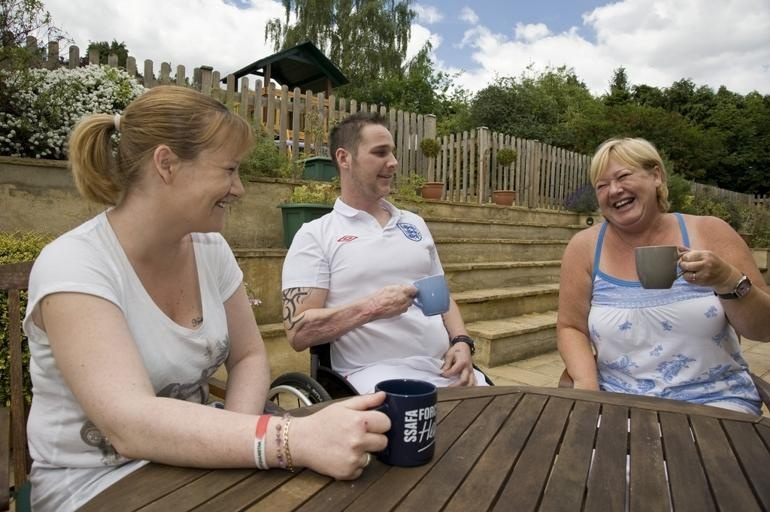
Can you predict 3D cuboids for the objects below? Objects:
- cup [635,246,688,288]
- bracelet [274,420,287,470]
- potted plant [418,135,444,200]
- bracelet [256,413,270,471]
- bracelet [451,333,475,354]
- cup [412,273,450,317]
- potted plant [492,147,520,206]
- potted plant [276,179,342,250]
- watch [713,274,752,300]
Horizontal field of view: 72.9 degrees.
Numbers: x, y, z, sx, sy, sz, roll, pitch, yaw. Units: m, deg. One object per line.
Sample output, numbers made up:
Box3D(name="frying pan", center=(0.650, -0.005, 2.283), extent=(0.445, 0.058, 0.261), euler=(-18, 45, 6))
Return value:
Box3D(name="cup", center=(1.114, 0.044, 2.121), extent=(0.124, 0.147, 0.205), euler=(-5, -8, 33))
Box3D(name="bracelet", center=(-0.310, 0.565, 1.576), extent=(0.049, 0.146, 0.056), euler=(-5, 10, -11))
Box3D(name="potted plant", center=(0.685, -1.358, 8.076), extent=(0.406, 0.953, 0.393), euler=(-9, 8, -43))
Box3D(name="bracelet", center=(-0.377, 0.557, 1.563), extent=(0.029, 0.125, 0.119), euler=(6, 43, -7))
Box3D(name="bracelet", center=(0.404, 0.451, 2.730), extent=(0.096, 0.042, 0.101), euler=(21, -14, 5))
Box3D(name="cup", center=(0.206, 0.178, 2.355), extent=(0.149, 0.202, 0.138), euler=(-3, 10, 0))
Box3D(name="potted plant", center=(2.026, -1.364, 8.766), extent=(0.351, 0.953, 1.428), euler=(0, 10, 14))
Box3D(name="potted plant", center=(-0.663, -0.325, 4.913), extent=(0.439, 0.671, 0.556), euler=(9, -8, 44))
Box3D(name="watch", center=(1.486, 0.148, 2.239), extent=(0.110, 0.062, 0.110), euler=(-36, -1, -16))
